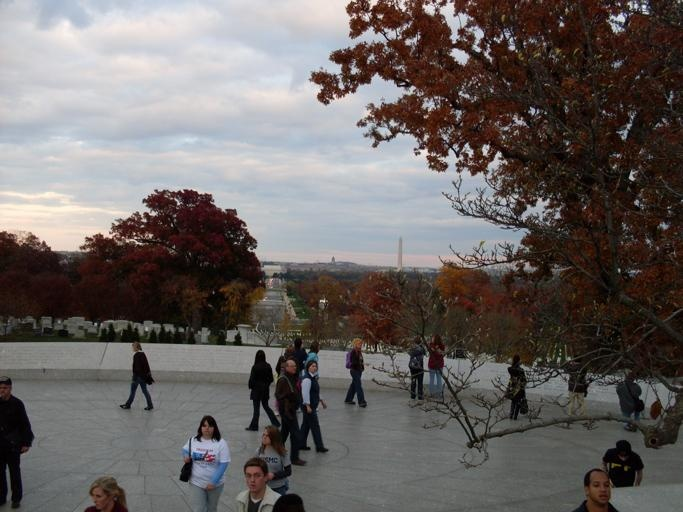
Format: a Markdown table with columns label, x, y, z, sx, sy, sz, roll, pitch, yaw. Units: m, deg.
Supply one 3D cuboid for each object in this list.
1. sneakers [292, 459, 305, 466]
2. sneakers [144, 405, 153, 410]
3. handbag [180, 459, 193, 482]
| label | x | y | z | sx | sy | sz | roll | pitch | yaw |
| --- | --- | --- | --- | --- | --- | --- | --- | --- | --- |
| sneakers | -0.855 | 4.251 | 13.209 | 0.280 | 0.123 | 0.096 | 0 | 3 | 4 |
| sneakers | -5.158 | 4.090 | 17.249 | 0.221 | 0.097 | 0.093 | 2 | -6 | 14 |
| handbag | -2.431 | 3.390 | 10.133 | 0.175 | 0.378 | 0.307 | 2 | -4 | -16 |
